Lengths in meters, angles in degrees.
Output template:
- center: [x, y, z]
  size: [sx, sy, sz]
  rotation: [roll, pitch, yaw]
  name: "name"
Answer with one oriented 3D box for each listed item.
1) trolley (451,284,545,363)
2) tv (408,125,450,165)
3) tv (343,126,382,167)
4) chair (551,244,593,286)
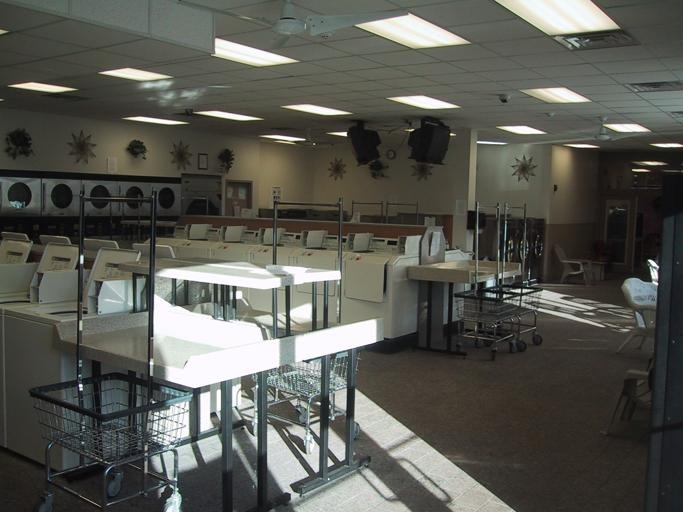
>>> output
- center: [2.116, 0.875, 7.506]
  size: [0.988, 1.079, 1.548]
  rotation: [0, 3, 43]
  name: "trolley"
- center: [1.518, -1.977, 9.172]
  size: [0.506, 0.625, 0.629]
  rotation: [3, 10, -45]
  name: "tv"
- center: [0.419, -2.107, 9.902]
  size: [0.571, 0.799, 0.461]
  rotation: [-1, 6, 0]
  name: "tv"
- center: [6.068, 0.178, 13.876]
  size: [1.200, 1.077, 0.877]
  rotation: [1, 7, 24]
  name: "chair"
